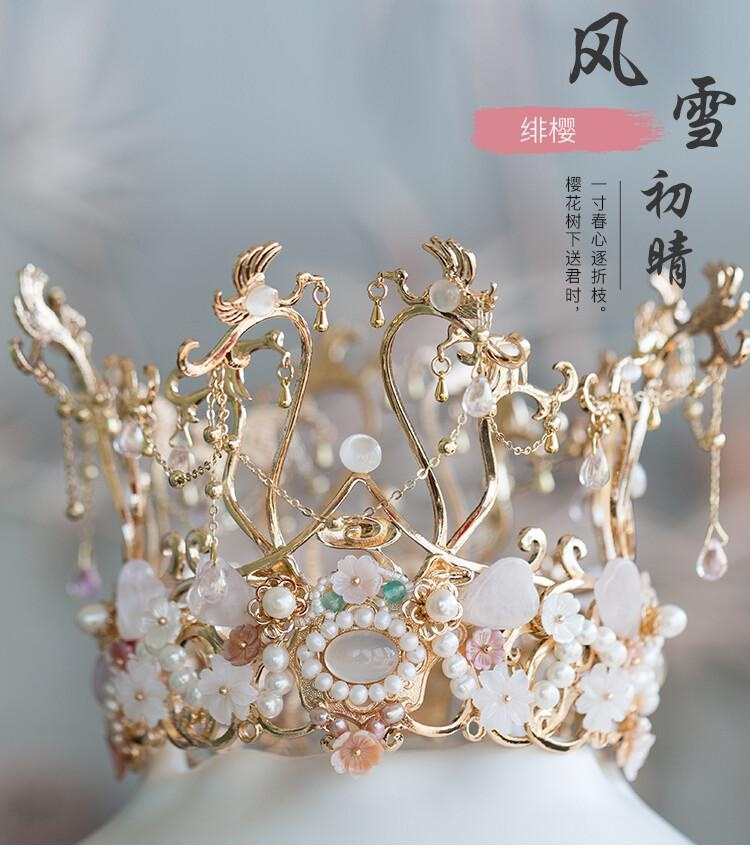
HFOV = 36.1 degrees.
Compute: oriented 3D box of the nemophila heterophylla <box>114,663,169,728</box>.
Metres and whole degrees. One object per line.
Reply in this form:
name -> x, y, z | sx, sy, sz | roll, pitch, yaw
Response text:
nemophila heterophylla -> -0.365, 0.406, 1.808 | 0.105, 0.097, 0.024 | -23, -6, 22
